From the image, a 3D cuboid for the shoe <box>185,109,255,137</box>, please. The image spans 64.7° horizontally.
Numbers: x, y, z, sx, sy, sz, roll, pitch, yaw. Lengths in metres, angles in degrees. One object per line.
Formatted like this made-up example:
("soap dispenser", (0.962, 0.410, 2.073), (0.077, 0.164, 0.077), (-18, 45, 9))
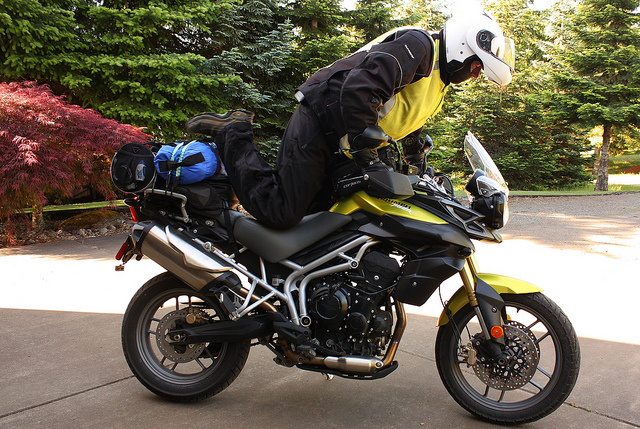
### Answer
("shoe", (-1.009, -0.926, 5.164), (0.760, 0.260, 0.257), (-2, -10, -1))
